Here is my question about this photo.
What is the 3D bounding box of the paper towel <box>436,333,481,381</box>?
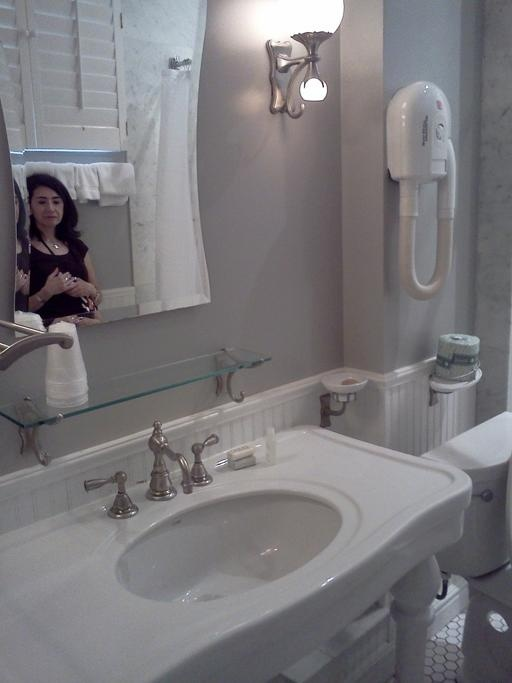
[{"bbox_3d":[0.651,0.049,1.758,0.116,0.133,0.120,-12,16,-35],"label":"paper towel"}]

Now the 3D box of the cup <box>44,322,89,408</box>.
[{"bbox_3d":[-0.325,0.050,0.941,0.071,0.115,0.078,-7,11,-27],"label":"cup"}]

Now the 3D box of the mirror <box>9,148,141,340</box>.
[{"bbox_3d":[-0.342,-0.192,1.015,0.093,0.358,0.302,3,12,32],"label":"mirror"}]
